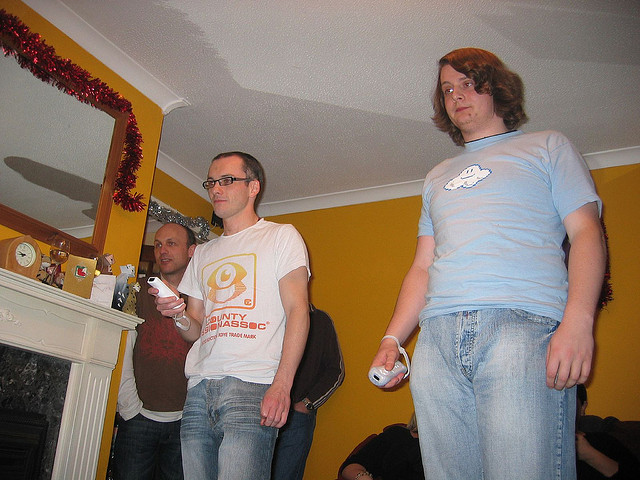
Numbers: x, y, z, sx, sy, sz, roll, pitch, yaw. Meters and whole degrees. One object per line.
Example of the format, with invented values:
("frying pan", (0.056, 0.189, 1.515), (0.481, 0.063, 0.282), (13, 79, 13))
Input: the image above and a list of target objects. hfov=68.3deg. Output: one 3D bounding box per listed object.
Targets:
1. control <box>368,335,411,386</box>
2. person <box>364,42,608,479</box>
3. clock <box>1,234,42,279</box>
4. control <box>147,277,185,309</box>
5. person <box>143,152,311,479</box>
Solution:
("control", (0.222, 0.376, 1.431), (0.139, 0.136, 0.050), (-35, -36, -17))
("person", (0.536, -0.075, 1.540), (0.669, 1.540, 0.342), (-16, -32, 33))
("clock", (-1.392, 0.084, 2.179), (0.075, 0.221, 0.161), (-7, -21, 21))
("control", (-0.631, 0.196, 1.871), (0.138, 0.068, 0.052), (24, -34, -38))
("person", (-0.349, 0.215, 1.952), (0.633, 1.382, 0.298), (0, -27, 5))
